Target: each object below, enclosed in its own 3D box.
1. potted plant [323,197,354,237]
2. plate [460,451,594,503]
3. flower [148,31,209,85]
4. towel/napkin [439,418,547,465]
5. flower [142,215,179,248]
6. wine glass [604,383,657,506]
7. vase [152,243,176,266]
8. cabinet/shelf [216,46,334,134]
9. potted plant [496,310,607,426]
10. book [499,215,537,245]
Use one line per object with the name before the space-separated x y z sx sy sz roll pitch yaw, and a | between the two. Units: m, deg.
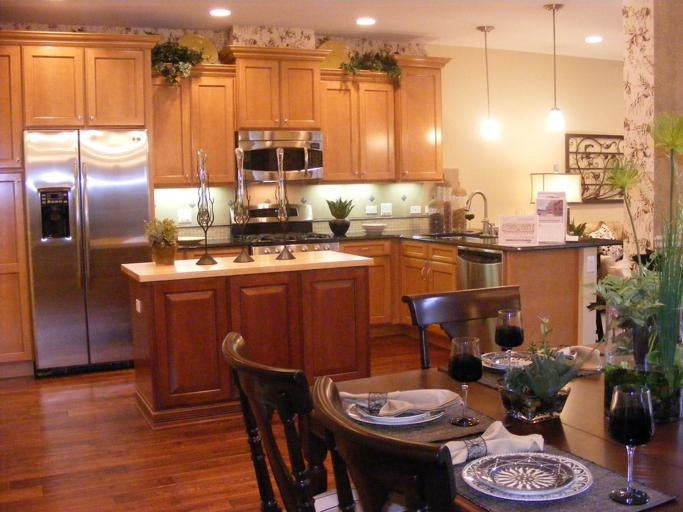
potted plant | -0.024 -0.417 6.266 0.447 0.458 0.400 0 -4 -3
plate | 0.428 0.508 1.308 0.284 0.038 0.167 0 6 13
flower | -1.588 -1.861 5.401 0.446 0.309 0.425 -3 11 -29
towel/napkin | 0.384 0.469 1.419 0.223 0.070 0.182 -5 4 -18
flower | -1.215 -0.156 3.856 0.210 0.178 0.207 -6 -7 28
wine glass | 0.649 0.392 1.263 0.082 0.245 0.210 2 7 29
vase | -1.228 -0.014 3.865 0.149 0.104 0.135 4 4 34
cabinet/shelf | -0.727 -1.674 5.711 0.990 0.806 0.407 -1 4 -20
potted plant | 0.615 0.341 1.780 0.256 0.188 0.415 -1 2 2
book | 1.493 -0.212 4.808 0.399 0.321 0.222 1 4 25
